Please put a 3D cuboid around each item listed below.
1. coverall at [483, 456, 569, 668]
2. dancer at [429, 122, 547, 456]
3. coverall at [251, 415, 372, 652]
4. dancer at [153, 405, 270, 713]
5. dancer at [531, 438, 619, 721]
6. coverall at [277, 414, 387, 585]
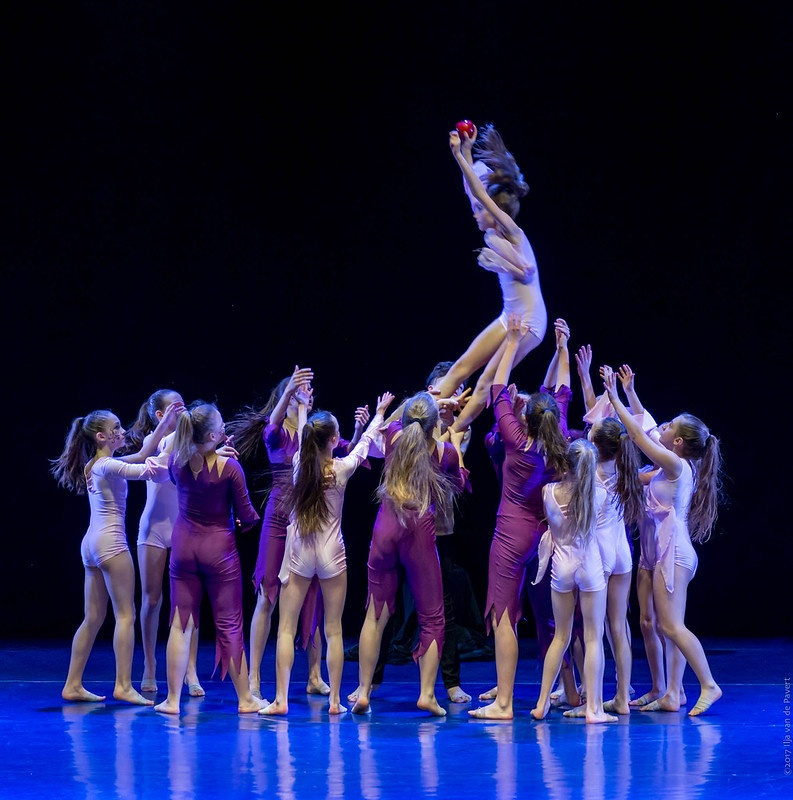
[{"bbox_3d":[0.590,0.757,4.473,0.322,1.094,0.291,3,22,17],"label":"coverall"},{"bbox_3d":[0.467,-0.527,5.107,0.623,1.752,0.398,11,26,17],"label":"dancer"},{"bbox_3d":[-0.363,0.761,4.742,0.520,1.671,0.324,1,9,-26],"label":"coverall"},{"bbox_3d":[-0.882,0.712,4.531,0.459,1.599,0.421,-5,17,-28],"label":"dancer"},{"bbox_3d":[0.781,0.803,4.222,0.381,1.230,0.307,-1,-7,33],"label":"dancer"},{"bbox_3d":[-0.361,0.402,4.284,0.393,0.921,0.237,7,16,-5],"label":"coverall"}]
